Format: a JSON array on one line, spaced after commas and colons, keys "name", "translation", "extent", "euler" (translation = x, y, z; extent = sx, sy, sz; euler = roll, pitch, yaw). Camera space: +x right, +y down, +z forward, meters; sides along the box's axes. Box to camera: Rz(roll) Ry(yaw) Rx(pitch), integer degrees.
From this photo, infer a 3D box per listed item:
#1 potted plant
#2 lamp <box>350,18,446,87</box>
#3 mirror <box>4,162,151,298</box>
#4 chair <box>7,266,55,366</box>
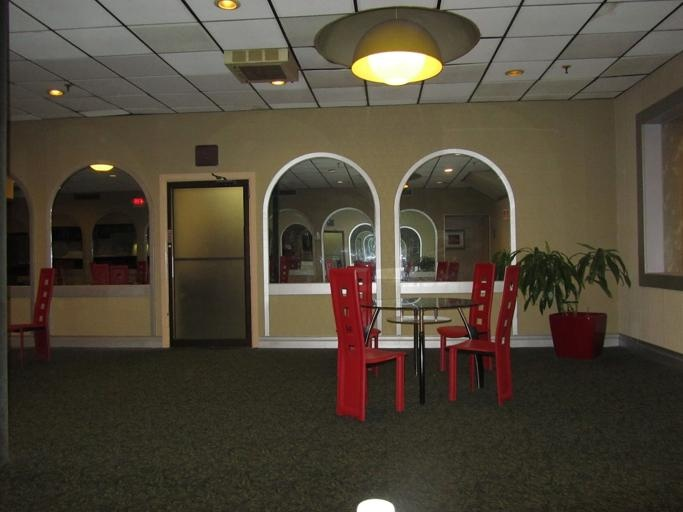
[{"name": "potted plant", "translation": [2.870, 0.530, 7.020], "extent": [1.435, 1.388, 1.056], "euler": [-1, 4, 1]}, {"name": "lamp", "translation": [0.461, -1.691, 4.636], "extent": [0.510, 0.385, 0.555], "euler": [0, 1, -1]}, {"name": "mirror", "translation": [-3.992, -0.447, 8.061], "extent": [1.753, 1.593, 0.036], "euler": [0, -1, -5]}, {"name": "chair", "translation": [-4.176, 0.765, 7.242], "extent": [0.519, 1.236, 1.128], "euler": [-3, 4, -32]}]
